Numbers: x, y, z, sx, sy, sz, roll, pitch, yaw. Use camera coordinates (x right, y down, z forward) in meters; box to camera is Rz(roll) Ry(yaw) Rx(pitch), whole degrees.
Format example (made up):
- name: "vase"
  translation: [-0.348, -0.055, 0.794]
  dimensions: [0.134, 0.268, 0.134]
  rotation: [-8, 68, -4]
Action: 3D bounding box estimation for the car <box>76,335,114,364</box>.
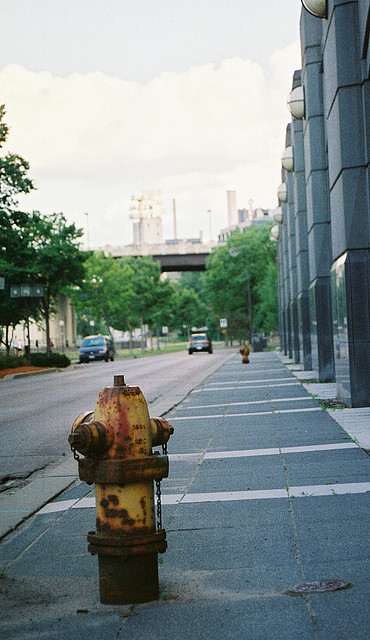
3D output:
- name: "car"
  translation: [-4.561, 1.509, 47.311]
  dimensions: [1.602, 1.346, 1.714]
  rotation: [-6, 1, -6]
